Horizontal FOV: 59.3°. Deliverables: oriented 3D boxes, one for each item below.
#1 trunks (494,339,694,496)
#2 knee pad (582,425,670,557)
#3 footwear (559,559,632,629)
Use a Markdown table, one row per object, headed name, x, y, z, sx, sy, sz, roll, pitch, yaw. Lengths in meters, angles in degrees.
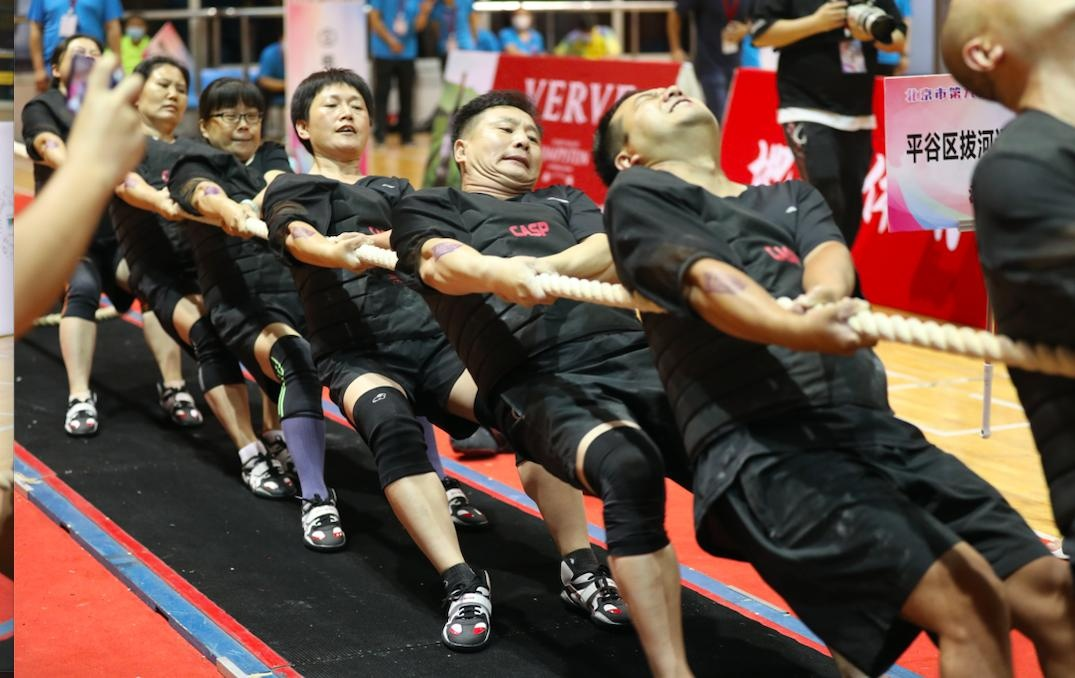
| name | x | y | z | sx | sy | sz | roll | pitch | yaw |
| --- | --- | --- | --- | --- | --- | --- | --- | --- | --- |
| trunks | 0.133 | 0.180 | 2.578 | 0.464 | 0.175 | 0.428 | -12 | 38 | -24 |
| knee pad | 0.222 | 0.387 | 2.336 | 0.160 | 0.132 | 0.317 | 10 | 44 | -11 |
| footwear | 0.171 | 0.775 | 2.899 | 0.106 | 0.114 | 0.262 | -6 | 10 | -33 |
